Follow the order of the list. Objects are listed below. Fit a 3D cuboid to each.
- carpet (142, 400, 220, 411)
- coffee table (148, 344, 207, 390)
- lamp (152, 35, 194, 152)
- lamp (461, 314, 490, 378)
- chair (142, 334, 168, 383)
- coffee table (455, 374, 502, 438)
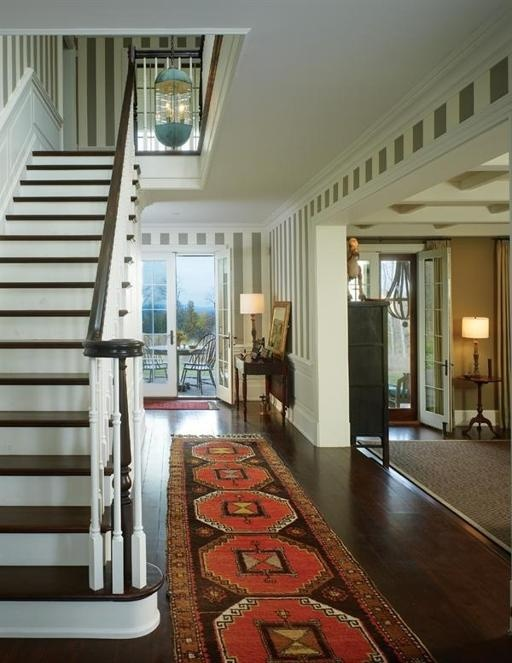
[{"bbox_3d":[-1.176,1.129,7.981,1.080,0.054,1.080,2,0,-9],"label":"carpet"},{"bbox_3d":[-1.389,0.719,9.619,0.852,0.591,0.864,1,7,11],"label":"coffee table"},{"bbox_3d":[-0.776,-2.178,4.823,0.337,1.004,0.340,-1,-2,13],"label":"lamp"},{"bbox_3d":[2.987,0.190,7.125,0.345,0.651,0.600,2,0,22],"label":"lamp"},{"bbox_3d":[-1.701,0.511,8.646,0.480,0.720,0.482,-5,17,-28],"label":"chair"},{"bbox_3d":[2.971,0.974,6.871,0.624,0.758,0.562,4,-3,-2],"label":"coffee table"}]
